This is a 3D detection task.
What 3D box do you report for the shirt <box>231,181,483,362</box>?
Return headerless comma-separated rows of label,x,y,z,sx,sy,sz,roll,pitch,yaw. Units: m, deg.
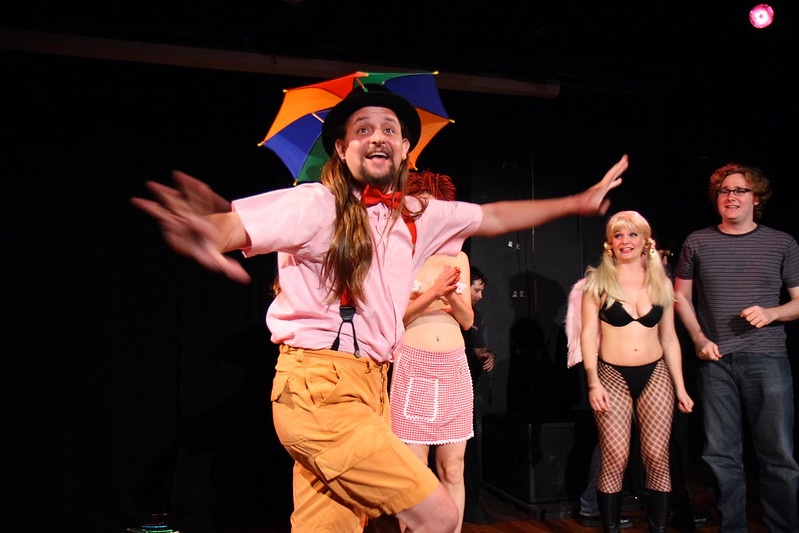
shirt,-0.231,-0.007,3.548,1.881,0.927,0.573,9,4,-44
